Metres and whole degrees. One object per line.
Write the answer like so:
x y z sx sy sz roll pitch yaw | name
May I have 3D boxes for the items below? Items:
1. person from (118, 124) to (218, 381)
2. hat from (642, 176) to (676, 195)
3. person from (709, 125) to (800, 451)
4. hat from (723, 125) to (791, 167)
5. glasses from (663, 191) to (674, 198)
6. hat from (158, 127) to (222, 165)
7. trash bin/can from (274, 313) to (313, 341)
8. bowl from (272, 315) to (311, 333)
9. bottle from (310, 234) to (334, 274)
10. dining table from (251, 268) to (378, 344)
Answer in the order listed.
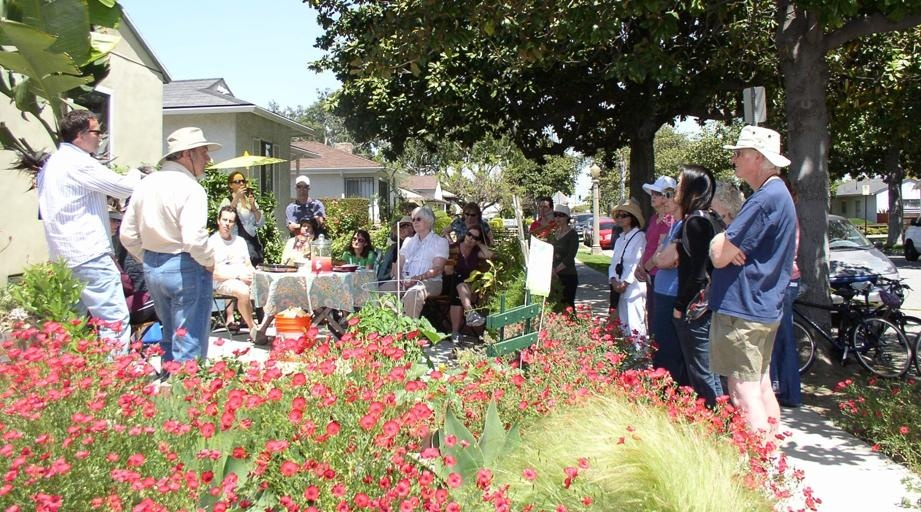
-3.305 -0.137 7.419 0.770 2.691 0.969 -8 11 -40 | person
2.572 -0.911 8.283 0.436 0.246 0.299 0 -3 -14 | hat
3.031 0.291 6.566 0.859 3.249 0.747 -4 9 -23 | person
3.125 -1.180 6.707 0.598 0.312 0.498 11 7 15 | hat
2.619 -0.783 8.015 0.141 0.047 0.136 9 -8 -12 | glasses
-3.310 -1.352 7.614 0.741 0.275 0.671 -17 7 -1 | hat
-2.567 1.030 9.713 0.515 0.329 0.551 -3 8 -16 | trash bin/can
-2.577 1.049 9.695 0.504 0.322 0.519 0 -6 0 | bowl
-2.237 -0.008 10.118 0.332 0.514 0.462 -3 8 -14 | bottle
-2.376 0.608 10.376 1.417 0.747 1.406 0 3 1 | dining table
